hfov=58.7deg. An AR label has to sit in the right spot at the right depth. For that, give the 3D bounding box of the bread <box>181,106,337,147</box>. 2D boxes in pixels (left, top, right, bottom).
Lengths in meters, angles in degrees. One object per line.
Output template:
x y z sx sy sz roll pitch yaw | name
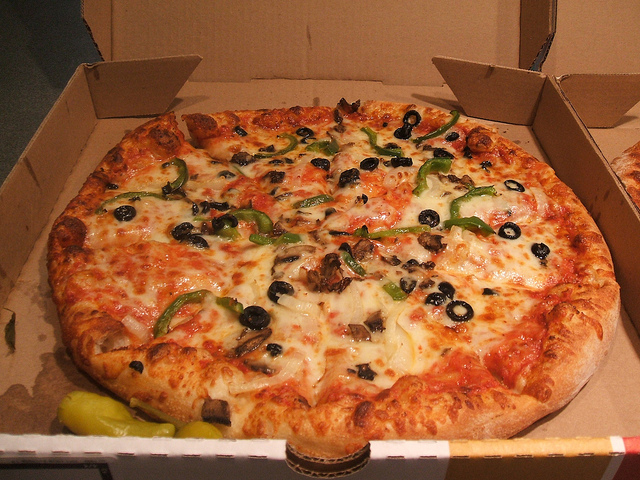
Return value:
-0.480 -1.006 4.777 1.010 0.142 0.489 -4 32 -3 | bread
